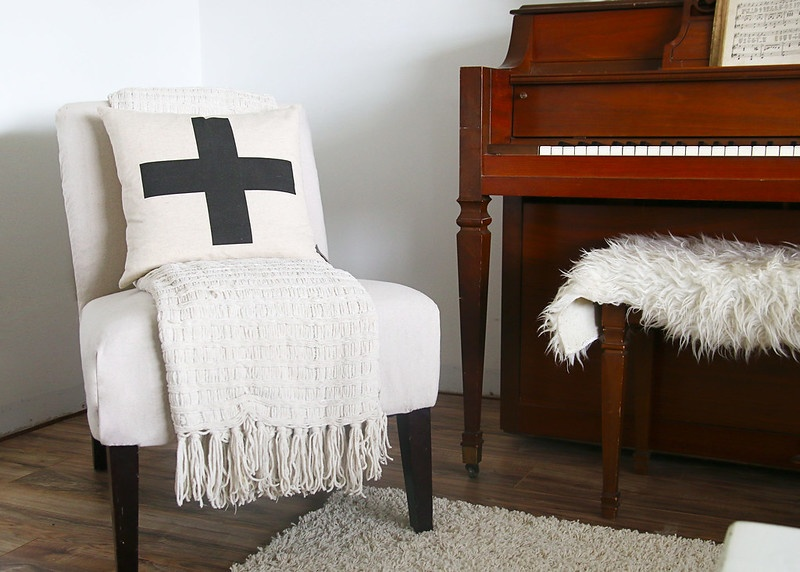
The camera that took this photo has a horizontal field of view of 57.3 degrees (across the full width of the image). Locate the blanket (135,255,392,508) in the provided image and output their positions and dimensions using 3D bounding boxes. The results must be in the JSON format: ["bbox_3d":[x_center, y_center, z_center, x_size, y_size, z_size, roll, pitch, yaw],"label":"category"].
[{"bbox_3d":[-0.340,0.174,1.810,0.578,0.456,0.547,-3,11,-13],"label":"blanket"}]
